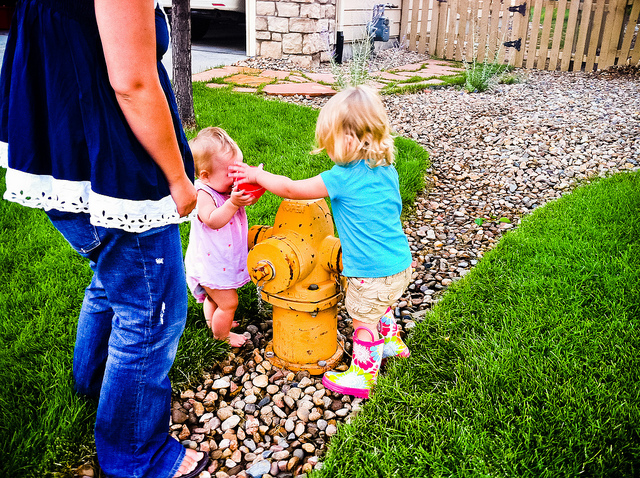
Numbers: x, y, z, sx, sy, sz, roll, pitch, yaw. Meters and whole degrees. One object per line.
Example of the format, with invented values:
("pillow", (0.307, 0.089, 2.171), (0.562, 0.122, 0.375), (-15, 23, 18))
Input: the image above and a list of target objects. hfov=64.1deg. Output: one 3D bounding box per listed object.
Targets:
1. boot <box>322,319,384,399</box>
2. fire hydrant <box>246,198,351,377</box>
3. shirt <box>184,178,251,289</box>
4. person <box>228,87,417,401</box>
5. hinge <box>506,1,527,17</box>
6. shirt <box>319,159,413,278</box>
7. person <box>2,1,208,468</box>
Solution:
("boot", (0.164, 0.613, 2.603), (0.294, 0.376, 0.145), (4, 19, 4))
("fire hydrant", (-0.080, 0.244, 2.831), (0.664, 0.907, 0.722), (-2, 14, -4))
("shirt", (-0.534, -0.016, 2.744), (0.302, 0.521, 0.361), (3, 5, 17))
("person", (0.205, -0.079, 2.881), (0.834, 1.506, 1.335), (7, 19, 14))
("hinge", (3.452, -4.046, 8.979), (0.228, 0.197, 0.061), (8, 16, 18))
("shirt", (0.225, -0.137, 2.589), (0.326, 0.591, 0.516), (-8, 11, 35))
("person", (-0.799, 0.098, 1.961), (0.647, 1.857, 0.352), (-1, 19, -9))
